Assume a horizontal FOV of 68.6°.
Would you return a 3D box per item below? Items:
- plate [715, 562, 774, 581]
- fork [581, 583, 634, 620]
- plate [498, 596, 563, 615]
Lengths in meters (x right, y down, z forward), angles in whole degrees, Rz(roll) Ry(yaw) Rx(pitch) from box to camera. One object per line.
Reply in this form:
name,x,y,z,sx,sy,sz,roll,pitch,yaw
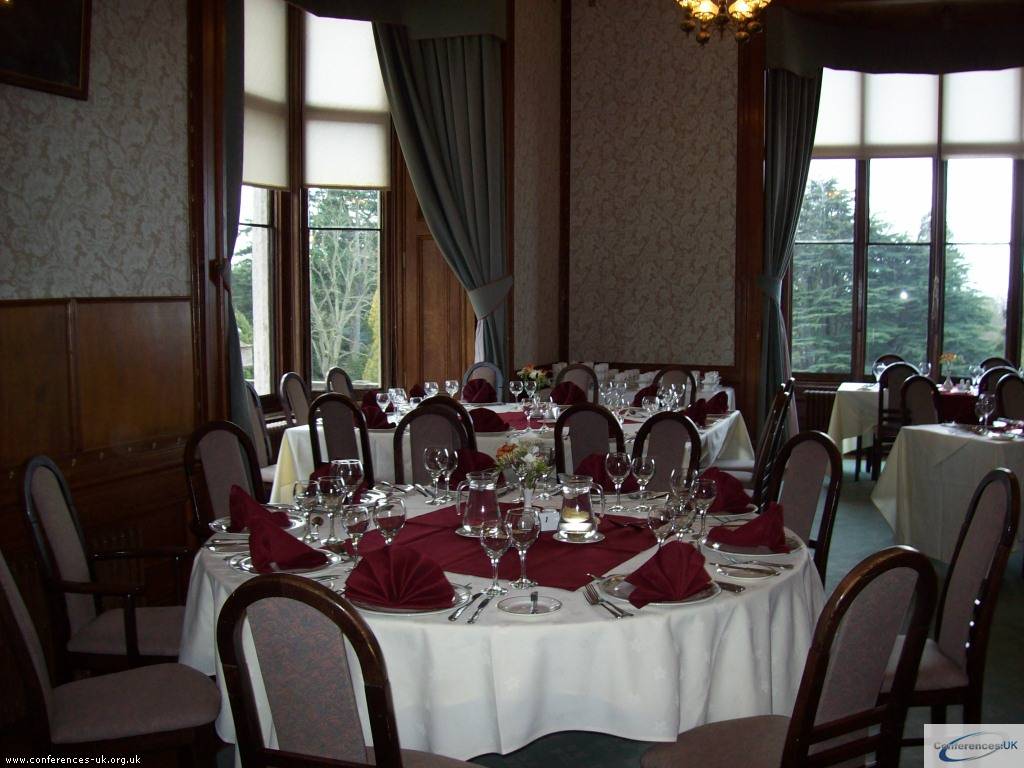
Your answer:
plate,0.749,0.604,2.385,0.195,0.013,0.111,1,7,16
fork,0.268,0.631,2.149,0.041,0.038,0.246,-2,9,-13
plate,0.054,0.627,2.137,0.182,0.019,0.129,-1,7,0
